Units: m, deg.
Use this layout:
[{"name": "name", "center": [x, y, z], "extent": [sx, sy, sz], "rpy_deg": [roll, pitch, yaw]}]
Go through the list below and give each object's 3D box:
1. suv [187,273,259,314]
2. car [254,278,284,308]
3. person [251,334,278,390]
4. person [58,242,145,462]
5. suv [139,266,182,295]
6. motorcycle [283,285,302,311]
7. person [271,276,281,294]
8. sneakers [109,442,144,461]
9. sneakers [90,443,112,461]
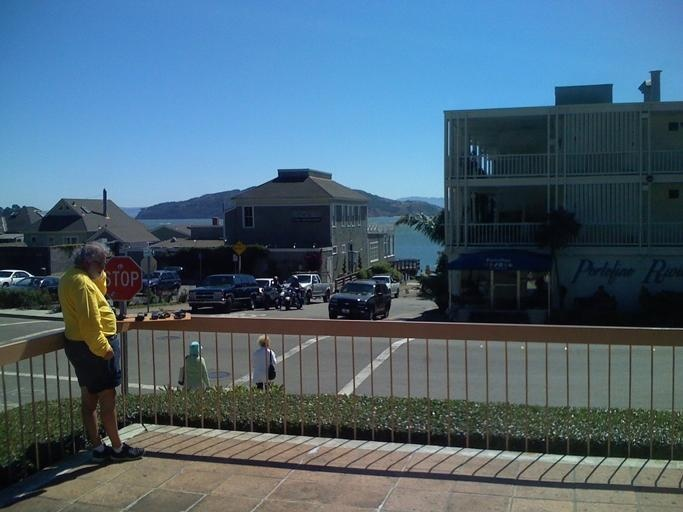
[{"name": "suv", "center": [-5.244, 1.555, 32.145], "extent": [1.407, 1.073, 2.544], "rpy_deg": [-2, -3, 21]}, {"name": "car", "center": [-3.564, 1.815, 35.782], "extent": [1.007, 0.901, 1.625], "rpy_deg": [-1, -2, 12]}, {"name": "person", "center": [-1.214, 1.745, 11.463], "extent": [0.397, 1.075, 0.343], "rpy_deg": [1, 11, -8]}, {"name": "person", "center": [-2.390, 0.945, 7.206], "extent": [0.682, 2.162, 0.562], "rpy_deg": [0, 1, -31]}, {"name": "suv", "center": [-9.802, 1.346, 39.857], "extent": [1.762, 1.533, 2.998], "rpy_deg": [-2, -5, 20]}, {"name": "motorcycle", "center": [-2.425, 2.042, 36.556], "extent": [0.675, 1.050, 2.189], "rpy_deg": [1, 1, 13]}, {"name": "person", "center": [-3.351, 1.425, 36.883], "extent": [0.606, 0.684, 1.169], "rpy_deg": [-2, -6, 2]}, {"name": "sneakers", "center": [-2.182, 1.952, 7.429], "extent": [0.293, 0.141, 0.132], "rpy_deg": [-1, 2, -13]}, {"name": "sneakers", "center": [-2.400, 1.950, 7.336], "extent": [0.101, 0.122, 0.258], "rpy_deg": [1, 2, 6]}]
